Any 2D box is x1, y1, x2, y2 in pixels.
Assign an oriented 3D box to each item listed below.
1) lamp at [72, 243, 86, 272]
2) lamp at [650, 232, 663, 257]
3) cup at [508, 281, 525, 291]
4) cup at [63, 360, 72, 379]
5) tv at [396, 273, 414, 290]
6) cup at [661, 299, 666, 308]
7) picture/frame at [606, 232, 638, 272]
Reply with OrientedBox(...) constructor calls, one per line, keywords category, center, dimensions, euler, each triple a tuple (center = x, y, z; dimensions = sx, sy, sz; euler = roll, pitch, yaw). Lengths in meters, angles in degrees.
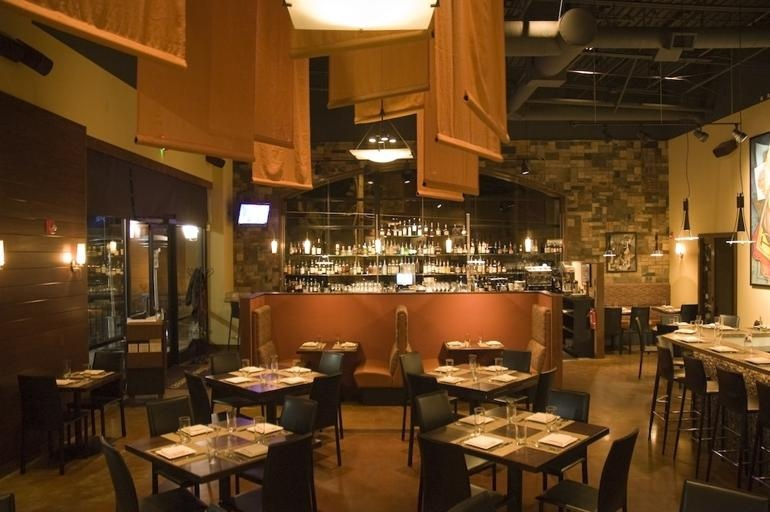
OrientedBox(category="lamp", center=(-5.091, 0.004, 10.680), dimensions=(0.095, 0.446, 0.262), euler=(-2, -3, 15))
OrientedBox(category="lamp", center=(7.067, -0.296, 16.573), dimensions=(0.361, 0.631, 0.204), euler=(-2, -2, 7))
OrientedBox(category="cup", center=(3.162, 0.722, 15.342), dimensions=(0.290, 0.187, 0.285), euler=(-1, 3, 0))
OrientedBox(category="cup", center=(-4.887, 1.741, 9.857), dimensions=(0.082, 0.275, 0.179), euler=(-1, -3, -24))
OrientedBox(category="tv", center=(0.463, 0.576, 14.777), dimensions=(0.354, 0.347, 0.204), euler=(0, 12, 5))
OrientedBox(category="cup", center=(7.257, 1.220, 16.611), dimensions=(0.115, 0.189, 0.129), euler=(-4, -5, 26))
OrientedBox(category="picture/frame", center=(6.086, -0.101, 16.548), dimensions=(0.974, 1.315, 0.089), euler=(-1, 1, 1))
